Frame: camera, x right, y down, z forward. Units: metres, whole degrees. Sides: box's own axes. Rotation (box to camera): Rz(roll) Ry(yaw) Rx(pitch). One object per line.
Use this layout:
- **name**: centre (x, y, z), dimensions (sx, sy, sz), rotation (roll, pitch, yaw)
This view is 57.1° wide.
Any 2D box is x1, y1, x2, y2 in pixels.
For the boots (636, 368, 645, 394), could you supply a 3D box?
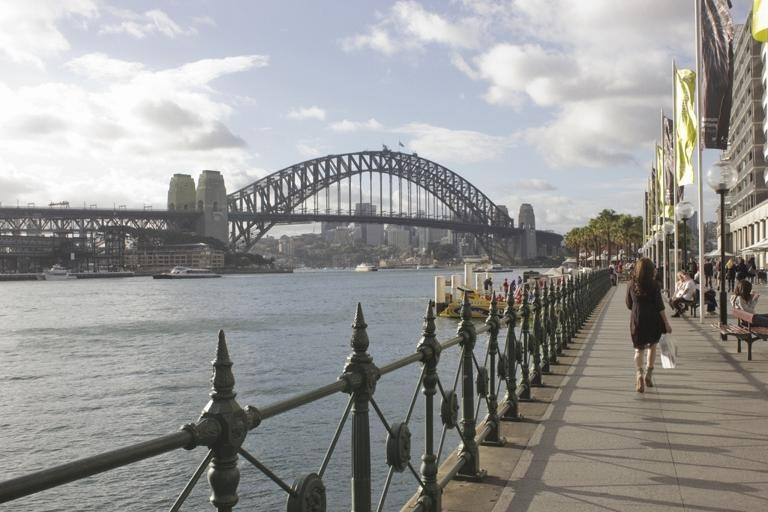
- **boots**: centre (4.329, 2.112, 11.906), dimensions (0.135, 0.405, 0.276), rotation (-4, 43, 7)

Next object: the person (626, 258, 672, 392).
- **person**: centre (4.647, 1.142, 12.413), dimensions (0.658, 2.012, 1.468), rotation (-3, 1, 19)

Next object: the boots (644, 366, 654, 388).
- **boots**: centre (4.510, 2.070, 12.041), dimensions (0.118, 0.308, 0.235), rotation (-3, 1, 26)

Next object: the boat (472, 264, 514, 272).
- **boat**: centre (30.333, 3.570, 196.036), dimensions (9.310, 2.159, 37.222), rotation (-3, 1, 6)

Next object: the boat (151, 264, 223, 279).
- **boat**: centre (-42.740, 3.779, 153.754), dimensions (12.678, 2.874, 8.346), rotation (-2, 1, 36)
